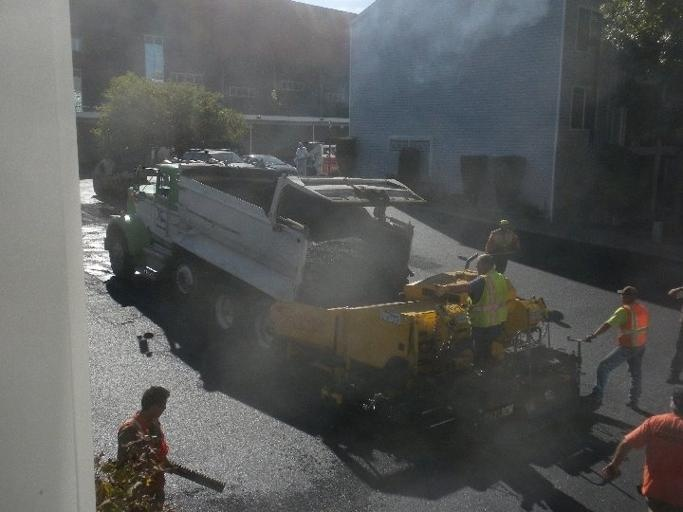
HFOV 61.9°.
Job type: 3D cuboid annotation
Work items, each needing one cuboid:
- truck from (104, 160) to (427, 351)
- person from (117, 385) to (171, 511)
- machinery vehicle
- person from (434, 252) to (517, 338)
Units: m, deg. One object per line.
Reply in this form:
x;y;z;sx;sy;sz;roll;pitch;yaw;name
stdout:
-1.892;-0.545;11.432;5.799;3.170;3.290;17;20;37;truck
-1.643;1.621;4.727;0.395;1.313;0.580;7;46;-3;person
1.214;1.090;8.637;3.193;2.020;3.946;1;3;-34;machinery vehicle
2.028;0.581;8.525;0.808;1.192;0.393;-7;18;-19;person
